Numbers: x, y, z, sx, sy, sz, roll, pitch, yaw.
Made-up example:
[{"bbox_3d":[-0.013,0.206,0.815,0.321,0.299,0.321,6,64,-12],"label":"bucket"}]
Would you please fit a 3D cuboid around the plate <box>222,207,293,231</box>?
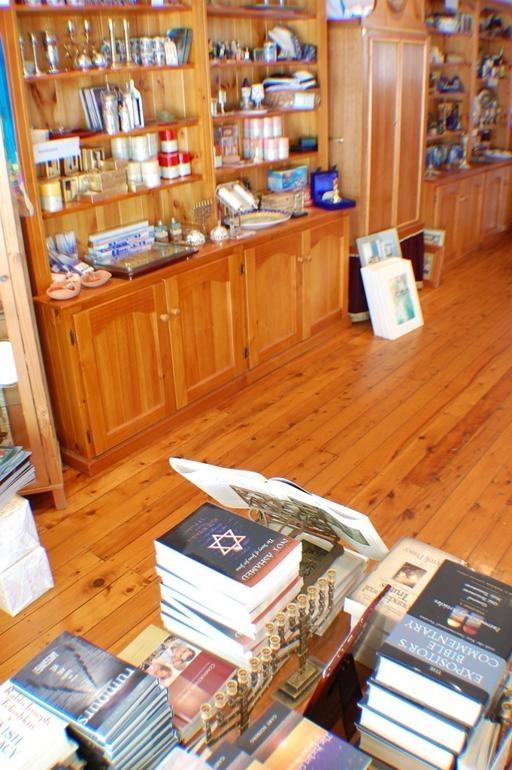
[{"bbox_3d":[-0.008,-1.206,4.003,0.280,0.039,0.275,-25,42,-24],"label":"plate"}]
